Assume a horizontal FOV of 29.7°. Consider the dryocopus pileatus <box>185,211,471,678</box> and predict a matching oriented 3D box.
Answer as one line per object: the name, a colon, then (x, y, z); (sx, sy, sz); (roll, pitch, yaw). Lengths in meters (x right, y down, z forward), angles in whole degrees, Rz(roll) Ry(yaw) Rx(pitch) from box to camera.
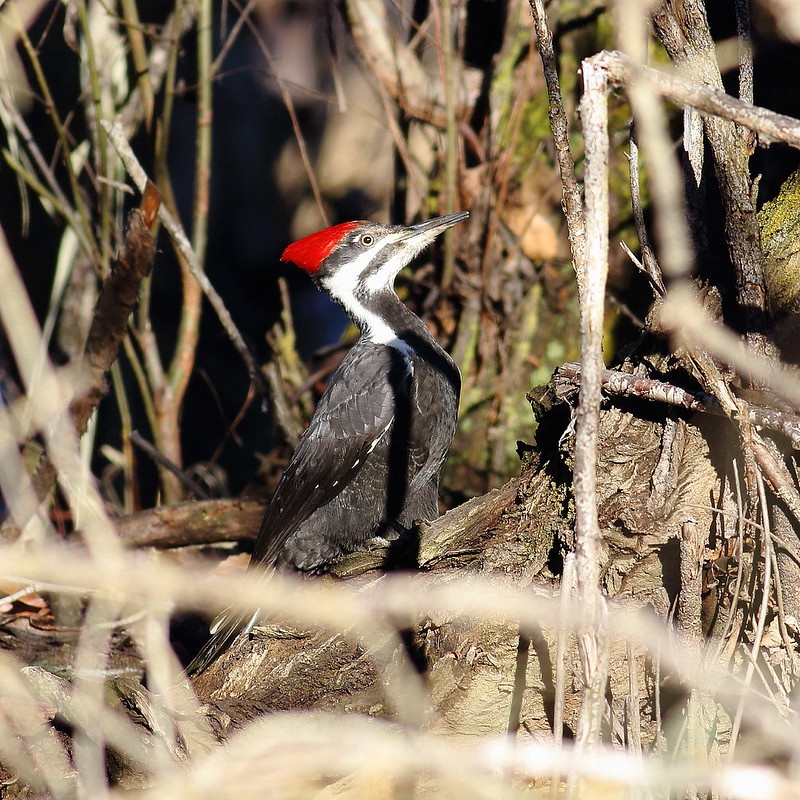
dryocopus pileatus: (-0.133, -0.013, 5.823); (0.844, 1.355, 1.103); (-3, 30, 3)
